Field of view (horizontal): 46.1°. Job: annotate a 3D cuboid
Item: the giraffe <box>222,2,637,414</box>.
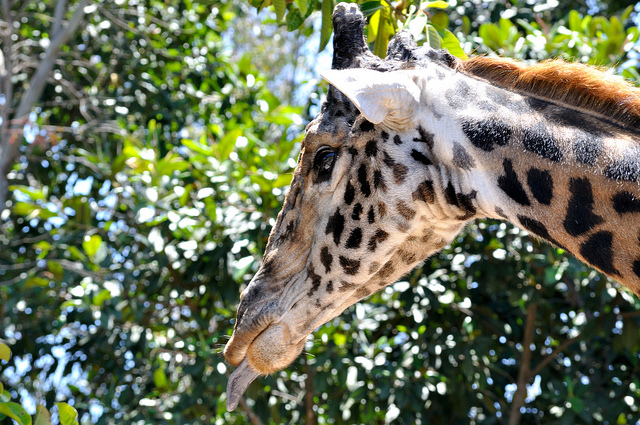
[{"bbox_3d":[0.804,-0.088,5.320,2.969,1.710,1.984,-23,-13,23],"label":"giraffe"}]
